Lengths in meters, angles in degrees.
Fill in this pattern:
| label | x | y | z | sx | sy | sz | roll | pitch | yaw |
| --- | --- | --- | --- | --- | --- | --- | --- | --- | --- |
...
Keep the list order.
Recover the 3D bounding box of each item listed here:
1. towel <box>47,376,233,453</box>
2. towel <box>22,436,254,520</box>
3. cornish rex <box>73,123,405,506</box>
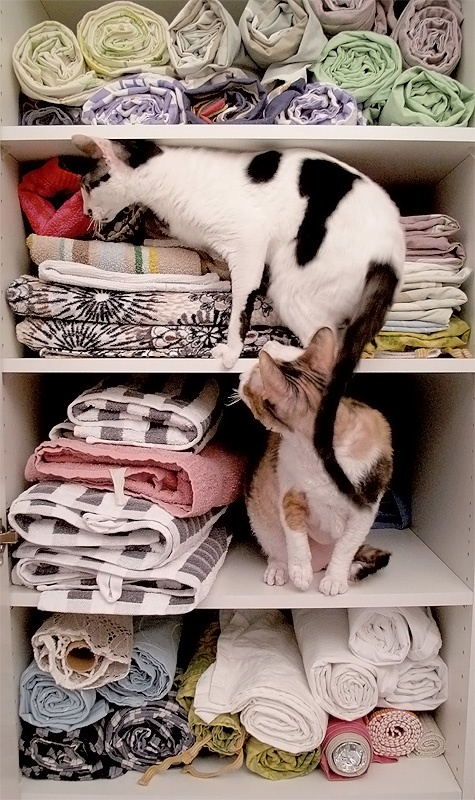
| label | x | y | z | sx | sy | sz | roll | pitch | yaw |
| --- | --- | --- | --- | --- | --- | --- | --- | --- | --- |
| towel | -0.149 | 0.018 | 1.207 | 0.263 | 0.084 | 0.271 | 9 | 8 | 16 |
| towel | -0.148 | 0.120 | 1.216 | 0.402 | 0.088 | 0.360 | 6 | -3 | -26 |
| cornish rex | 0.004 | -0.134 | 1.082 | 0.466 | 0.468 | 0.198 | 15 | 26 | 25 |
